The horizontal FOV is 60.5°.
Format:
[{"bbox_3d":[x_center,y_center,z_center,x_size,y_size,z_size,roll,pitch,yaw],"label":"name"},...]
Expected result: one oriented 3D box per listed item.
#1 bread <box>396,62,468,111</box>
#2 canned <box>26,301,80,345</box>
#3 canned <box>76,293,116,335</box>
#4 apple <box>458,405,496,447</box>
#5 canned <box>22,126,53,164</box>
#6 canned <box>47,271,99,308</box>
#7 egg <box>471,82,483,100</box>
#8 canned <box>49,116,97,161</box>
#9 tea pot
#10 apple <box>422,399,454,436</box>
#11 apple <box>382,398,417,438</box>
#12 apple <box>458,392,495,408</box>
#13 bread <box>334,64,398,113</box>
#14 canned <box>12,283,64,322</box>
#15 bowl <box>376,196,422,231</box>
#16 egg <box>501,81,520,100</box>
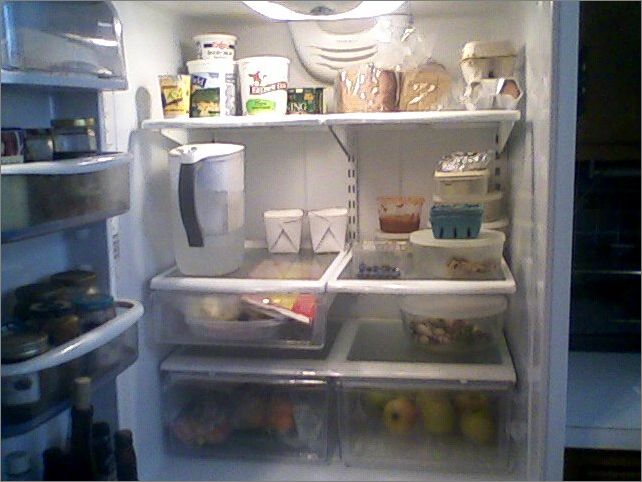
[{"bbox_3d":[0.331,-0.476,1.719,0.144,0.099,0.145,-2,13,5],"label":"bread"},{"bbox_3d":[-0.586,0.168,1.205,0.093,0.088,0.090,-4,12,-32],"label":"canned"},{"bbox_3d":[-0.524,0.172,1.283,0.074,0.078,0.075,0,6,-9],"label":"canned"},{"bbox_3d":[0.486,0.569,1.741,0.113,0.113,0.103,3,-2,-27],"label":"apple"},{"bbox_3d":[-0.646,-0.226,1.263,0.071,0.078,0.073,20,27,31],"label":"canned"},{"bbox_3d":[-0.598,0.108,1.330,0.084,0.080,0.085,2,8,6],"label":"canned"},{"bbox_3d":[0.457,-0.439,1.622,0.014,0.047,0.047,1,1,-27],"label":"egg"},{"bbox_3d":[-0.583,-0.247,1.290,0.109,0.093,0.038,-11,32,-39],"label":"canned"},{"bbox_3d":[-0.330,-0.084,1.659,0.237,0.405,0.162,-6,12,-15],"label":"tea pot"},{"bbox_3d":[0.362,0.547,1.770,0.106,0.108,0.105,-5,4,-6],"label":"apple"},{"bbox_3d":[0.246,0.543,1.764,0.106,0.106,0.109,40,-4,12],"label":"apple"},{"bbox_3d":[0.481,0.476,1.708,0.065,0.033,0.065,-15,22,-30],"label":"apple"},{"bbox_3d":[0.144,-0.461,1.728,0.155,0.097,0.157,0,9,-1],"label":"bread"},{"bbox_3d":[-0.645,0.122,1.265,0.085,0.080,0.087,15,15,27],"label":"canned"},{"bbox_3d":[0.278,-0.093,1.924,0.169,0.129,0.177,1,7,0],"label":"bowl"},{"bbox_3d":[0.545,-0.435,1.571,0.059,0.055,0.017,-3,12,0],"label":"egg"}]
